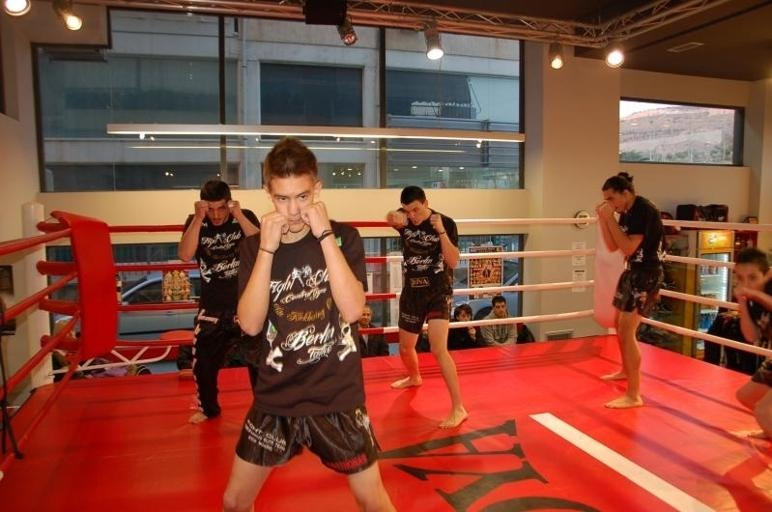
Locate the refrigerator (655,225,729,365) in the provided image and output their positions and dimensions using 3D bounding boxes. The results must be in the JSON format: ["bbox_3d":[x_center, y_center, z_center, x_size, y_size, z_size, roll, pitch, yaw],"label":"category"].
[{"bbox_3d":[5.100,0.670,9.252,1.331,2.267,0.821,-5,10,-15],"label":"refrigerator"}]

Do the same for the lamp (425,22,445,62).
[{"bbox_3d":[0.567,-2.564,6.666,0.183,0.441,0.334,-1,9,5],"label":"lamp"}]

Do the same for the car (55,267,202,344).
[{"bbox_3d":[-3.137,0.922,7.972,2.361,1.106,1.277,5,-1,-14],"label":"car"}]

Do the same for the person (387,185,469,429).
[{"bbox_3d":[0.373,0.361,4.746,0.539,1.879,0.876,-7,11,-29],"label":"person"}]

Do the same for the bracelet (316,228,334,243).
[{"bbox_3d":[-0.351,-0.125,3.383,0.124,0.072,0.067,-8,11,-35],"label":"bracelet"}]

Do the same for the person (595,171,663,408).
[{"bbox_3d":[2.108,0.269,4.876,0.541,1.944,0.700,2,10,25],"label":"person"}]
